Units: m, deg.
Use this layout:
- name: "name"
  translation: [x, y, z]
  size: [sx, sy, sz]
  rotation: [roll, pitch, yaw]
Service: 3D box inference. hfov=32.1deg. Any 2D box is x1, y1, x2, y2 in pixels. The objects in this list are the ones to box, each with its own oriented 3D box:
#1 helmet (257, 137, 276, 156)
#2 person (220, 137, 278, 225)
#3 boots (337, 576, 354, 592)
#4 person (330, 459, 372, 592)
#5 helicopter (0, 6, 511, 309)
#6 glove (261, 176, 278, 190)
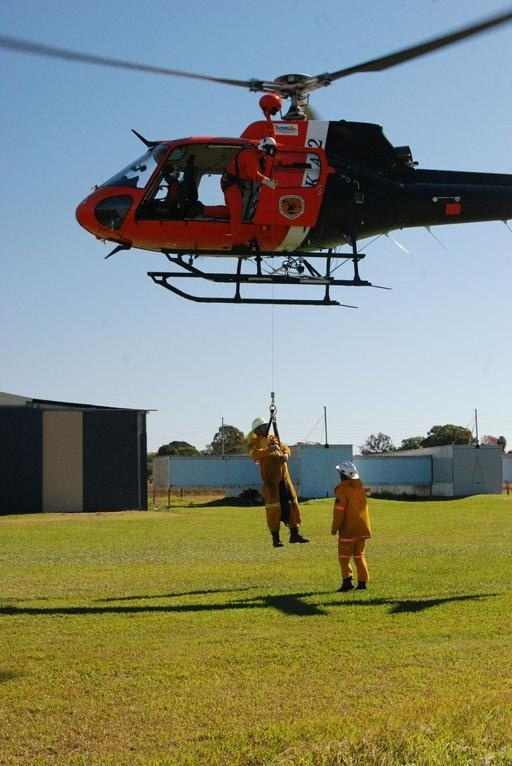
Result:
- name: "helmet"
  translation: [0.137, -3.020, 11.311]
  size: [0.275, 0.233, 0.190]
  rotation: [-2, 40, -1]
- name: "person"
  translation: [-0.060, -2.635, 11.661]
  size: [0.553, 0.987, 1.090]
  rotation: [3, -4, -40]
- name: "boots"
  translation: [1.072, 2.419, 10.532]
  size: [0.252, 0.216, 0.112]
  rotation: [11, -11, -17]
- name: "person"
  translation: [1.139, 1.746, 10.674]
  size: [0.419, 1.500, 0.648]
  rotation: [0, -3, 6]
- name: "helicopter"
  translation: [0.745, -2.574, 11.860]
  size: [5.651, 1.937, 4.396]
  rotation: [-1, 7, -19]
- name: "glove"
  translation: [0.168, -2.546, 11.317]
  size: [0.217, 0.075, 0.154]
  rotation: [2, 23, -21]
